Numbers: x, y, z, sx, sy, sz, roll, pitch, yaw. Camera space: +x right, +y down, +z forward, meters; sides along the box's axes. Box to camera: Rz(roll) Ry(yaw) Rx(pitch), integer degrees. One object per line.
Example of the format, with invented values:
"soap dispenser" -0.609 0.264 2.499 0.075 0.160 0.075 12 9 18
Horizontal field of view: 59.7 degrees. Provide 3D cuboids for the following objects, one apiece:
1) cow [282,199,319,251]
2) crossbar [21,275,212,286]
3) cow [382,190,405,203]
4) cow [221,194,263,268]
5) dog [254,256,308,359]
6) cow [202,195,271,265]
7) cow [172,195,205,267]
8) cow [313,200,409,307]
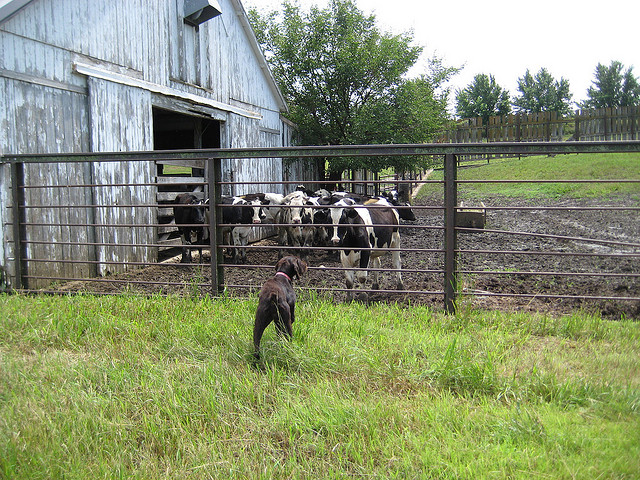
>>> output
"cow" -0.361 -0.201 11.227 0.574 1.250 2.047 0 -1 3
"crossbar" -2.747 0.544 7.404 2.802 0.069 0.048 4 -10 -16
"cow" 2.007 -1.233 15.305 0.404 0.462 0.880 -7 3 4
"cow" -1.724 -0.256 11.664 0.559 1.375 2.121 -1 8 -29
"dog" -0.302 0.533 4.574 0.262 0.690 0.934 0 7 10
"cow" -1.810 -0.276 11.628 0.553 1.387 2.029 -8 14 -40
"cow" -2.489 -0.123 10.964 0.465 1.233 1.940 -1 -10 -15
"cow" 0.628 0.164 7.921 0.623 1.502 2.224 -1 2 28
